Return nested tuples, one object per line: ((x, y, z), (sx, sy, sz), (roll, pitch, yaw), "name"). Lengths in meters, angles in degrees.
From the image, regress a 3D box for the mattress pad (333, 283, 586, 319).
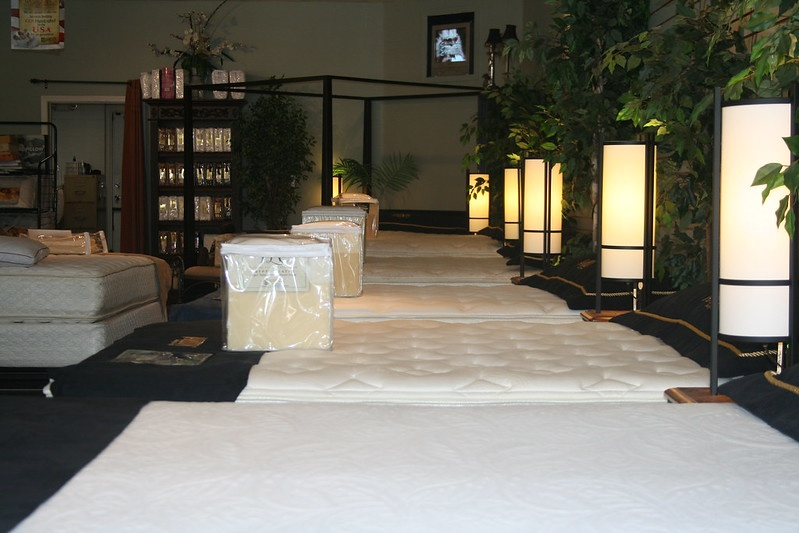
((0.255, 0.179, 3.109), (1.234, 0.061, 0.775), (-1, 8, -8), "mattress pad")

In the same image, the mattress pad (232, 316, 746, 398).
((0.256, 0.322, 2.141), (1.541, 0.062, 0.853), (0, 8, -3), "mattress pad")

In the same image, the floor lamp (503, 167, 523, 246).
((1.014, -0.546, 5.063), (0.210, 0.629, 0.187), (-2, 8, 5), "floor lamp")

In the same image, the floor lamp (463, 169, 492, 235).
((0.892, -0.713, 6.544), (0.261, 0.701, 0.447), (2, 10, 7), "floor lamp")

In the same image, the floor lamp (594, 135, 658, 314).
((1.104, -0.247, 2.808), (0.257, 0.720, 0.153), (3, 11, 12), "floor lamp")

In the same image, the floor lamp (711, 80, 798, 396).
((1.058, -0.130, 1.705), (0.263, 0.715, 0.110), (5, 12, 24), "floor lamp")
